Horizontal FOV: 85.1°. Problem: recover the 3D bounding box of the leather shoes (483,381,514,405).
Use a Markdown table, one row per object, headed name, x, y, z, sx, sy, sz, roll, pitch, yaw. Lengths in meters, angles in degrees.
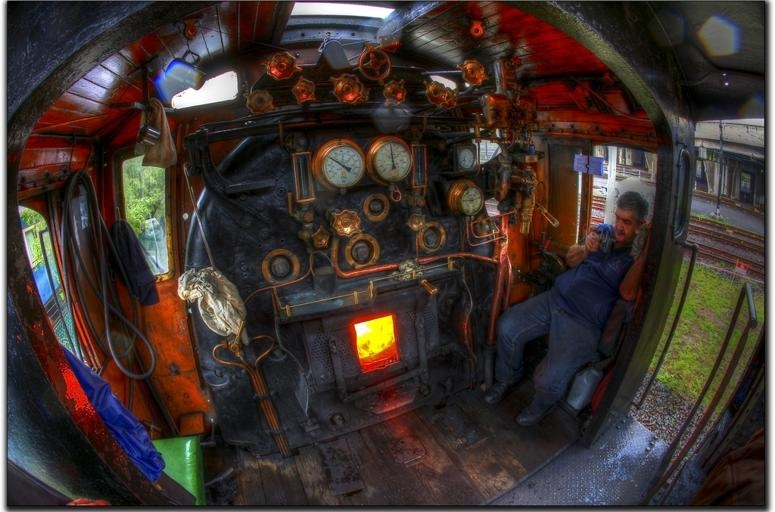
| name | x | y | z | sx | sy | sz | roll | pitch | yaw |
| --- | --- | --- | --- | --- | --- | --- | --- | --- | --- |
| leather shoes | 1.719 | 2.160 | 6.731 | 0.608 | 0.228 | 0.215 | -23 | 36 | -26 |
